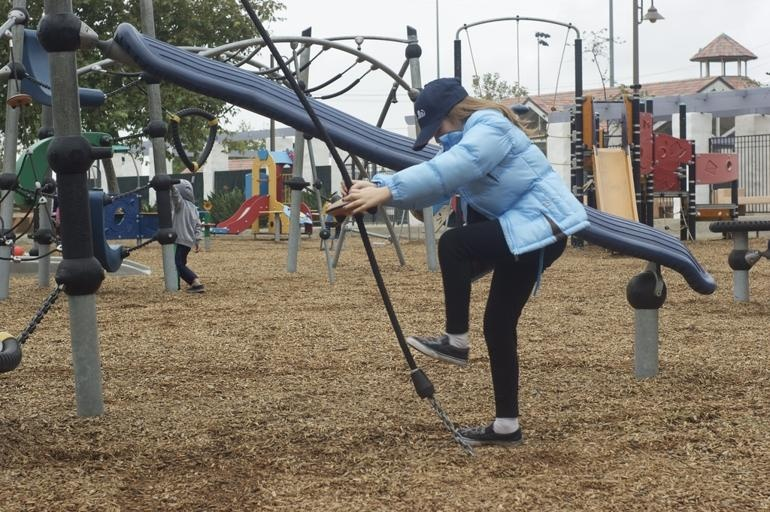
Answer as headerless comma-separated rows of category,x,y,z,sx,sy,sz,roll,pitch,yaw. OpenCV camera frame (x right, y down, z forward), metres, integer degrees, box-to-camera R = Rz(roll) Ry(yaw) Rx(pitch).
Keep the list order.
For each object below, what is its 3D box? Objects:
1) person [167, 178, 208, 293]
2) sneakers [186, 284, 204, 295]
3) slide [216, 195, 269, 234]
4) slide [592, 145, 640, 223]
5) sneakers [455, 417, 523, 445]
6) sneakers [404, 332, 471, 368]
person,-2.384,-0.274,12.430,0.348,1.295,1.666,-2,5,-11
sneakers,-2.157,0.364,11.744,0.197,0.092,0.229,-1,5,-9
slide,-3.092,-0.904,22.308,1.162,0.795,0.738,-2,6,-19
slide,3.356,-1.068,14.995,0.630,1.009,0.950,0,5,11
sneakers,0.743,1.233,7.286,0.492,0.158,0.171,2,-6,1
sneakers,0.393,0.641,7.196,0.502,0.182,0.172,18,-4,-4
